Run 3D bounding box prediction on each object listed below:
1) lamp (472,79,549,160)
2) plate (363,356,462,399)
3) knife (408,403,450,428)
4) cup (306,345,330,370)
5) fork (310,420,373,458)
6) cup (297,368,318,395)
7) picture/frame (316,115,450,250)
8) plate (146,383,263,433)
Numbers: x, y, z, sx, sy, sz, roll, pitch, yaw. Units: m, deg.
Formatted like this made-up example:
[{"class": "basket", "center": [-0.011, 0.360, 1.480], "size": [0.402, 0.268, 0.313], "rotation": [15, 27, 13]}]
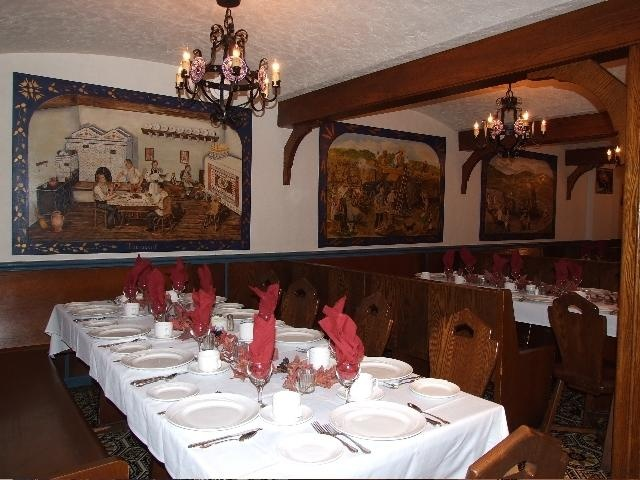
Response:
[{"class": "lamp", "center": [2.605, -1.668, 6.121], "size": [0.731, 1.219, 0.796], "rotation": [7, 6, 39]}, {"class": "plate", "center": [0.483, 0.770, 2.538], "size": [0.222, 0.022, 0.401], "rotation": [-3, 7, -24]}, {"class": "knife", "center": [0.523, 0.811, 2.143], "size": [0.056, 0.027, 0.182], "rotation": [7, 5, -21]}, {"class": "cup", "center": [-0.007, 0.672, 2.566], "size": [0.089, 0.098, 0.124], "rotation": [0, -4, 1]}, {"class": "fork", "center": [0.096, 0.820, 1.929], "size": [0.082, 0.039, 0.323], "rotation": [-13, 23, -27]}, {"class": "cup", "center": [-0.067, 0.716, 2.306], "size": [0.101, 0.128, 0.112], "rotation": [1, -5, -5]}, {"class": "picture/frame", "center": [0.933, -0.924, 7.135], "size": [2.000, 1.546, 0.037], "rotation": [-1, 2, -33]}, {"class": "plate", "center": [-0.507, 0.801, 2.118], "size": [0.444, 0.052, 0.311], "rotation": [6, 8, 18]}]
